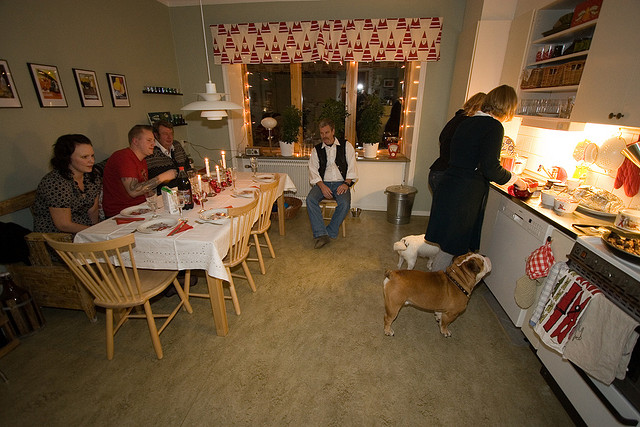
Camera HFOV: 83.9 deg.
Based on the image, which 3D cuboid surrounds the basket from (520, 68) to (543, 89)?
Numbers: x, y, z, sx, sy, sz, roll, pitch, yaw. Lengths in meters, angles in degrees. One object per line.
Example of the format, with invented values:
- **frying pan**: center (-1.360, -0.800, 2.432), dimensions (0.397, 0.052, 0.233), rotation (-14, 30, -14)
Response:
- **basket**: center (2.298, -1.445, 3.844), dimensions (0.051, 0.190, 0.189), rotation (10, -1, -31)

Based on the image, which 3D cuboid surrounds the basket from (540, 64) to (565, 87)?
- **basket**: center (2.365, -1.403, 3.638), dimensions (0.071, 0.210, 0.286), rotation (-5, 21, -10)

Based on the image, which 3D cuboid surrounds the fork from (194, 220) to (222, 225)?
- **fork**: center (-1.036, 0.082, 3.325), dimensions (0.269, 0.033, 0.050), rotation (6, 14, 1)

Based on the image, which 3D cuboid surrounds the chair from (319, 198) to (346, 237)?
- **chair**: center (0.126, -0.013, 5.063), dimensions (0.325, 0.525, 0.660), rotation (-6, 21, -13)

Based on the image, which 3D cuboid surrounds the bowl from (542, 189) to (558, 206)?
- **bowl**: center (2.090, -0.139, 3.279), dimensions (0.116, 0.138, 0.154), rotation (-1, 10, 2)

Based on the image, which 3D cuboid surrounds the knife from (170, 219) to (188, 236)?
- **knife**: center (-1.251, 0.124, 3.206), dimensions (0.041, 0.030, 0.253), rotation (-6, 22, 26)

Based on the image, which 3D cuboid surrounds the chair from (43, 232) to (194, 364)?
- **chair**: center (-1.752, 0.670, 3.308), dimensions (0.727, 1.253, 0.811), rotation (-2, 20, 8)

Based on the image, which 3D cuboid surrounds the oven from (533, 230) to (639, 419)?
- **oven**: center (2.093, 0.917, 2.744), dimensions (0.423, 1.376, 0.794), rotation (-1, 21, 1)

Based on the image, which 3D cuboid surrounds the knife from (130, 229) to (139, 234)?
- **knife**: center (-1.635, 0.160, 3.137), dimensions (0.021, 0.022, 0.037), rotation (-5, 26, 11)

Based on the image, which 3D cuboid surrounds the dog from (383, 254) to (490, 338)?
- **dog**: center (1.101, 0.787, 3.408), dimensions (0.974, 0.849, 0.390), rotation (-1, 20, 1)

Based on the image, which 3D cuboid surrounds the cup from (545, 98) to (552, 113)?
- **cup**: center (2.399, -1.127, 3.750), dimensions (0.042, 0.126, 0.096), rotation (2, 21, 8)

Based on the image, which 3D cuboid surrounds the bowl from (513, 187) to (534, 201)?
- **bowl**: center (1.942, -0.190, 3.418), dimensions (0.107, 0.047, 0.141), rotation (-10, 17, -31)

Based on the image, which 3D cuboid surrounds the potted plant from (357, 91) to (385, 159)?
- **potted plant**: center (0.769, -1.367, 5.536), dimensions (0.385, 0.961, 0.495), rotation (1, 21, 5)

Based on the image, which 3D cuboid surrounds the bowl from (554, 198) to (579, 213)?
- **bowl**: center (2.169, -0.070, 3.148), dimensions (0.132, 0.091, 0.151), rotation (0, 2, 7)

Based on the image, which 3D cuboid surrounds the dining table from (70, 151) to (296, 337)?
- **dining table**: center (-1.234, 0.014, 3.525), dimensions (1.691, 1.137, 2.263), rotation (2, 29, 5)

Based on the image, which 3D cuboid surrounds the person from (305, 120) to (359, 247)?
- **person**: center (0.159, -0.440, 4.770), dimensions (0.723, 1.553, 0.791), rotation (-4, 21, -6)

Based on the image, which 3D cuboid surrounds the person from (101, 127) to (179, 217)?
- **person**: center (-2.016, -0.212, 4.018), dimensions (0.743, 1.477, 0.567), rotation (4, 19, -10)

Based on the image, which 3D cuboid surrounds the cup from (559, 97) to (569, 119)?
- **cup**: center (2.424, -1.049, 3.546), dimensions (0.070, 0.174, 0.292), rotation (9, 22, 26)

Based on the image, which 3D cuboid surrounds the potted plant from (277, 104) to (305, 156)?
- **potted plant**: center (-0.471, -1.328, 5.735), dimensions (0.381, 0.800, 0.435), rotation (-3, 21, -5)

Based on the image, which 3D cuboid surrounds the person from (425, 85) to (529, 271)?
- **person**: center (1.451, -0.290, 3.506), dimensions (0.715, 1.813, 0.404), rotation (3, 21, 10)

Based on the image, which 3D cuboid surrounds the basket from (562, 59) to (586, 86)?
- **basket**: center (2.506, -1.354, 3.437), dimensions (0.140, 0.233, 0.225), rotation (-2, 25, -19)

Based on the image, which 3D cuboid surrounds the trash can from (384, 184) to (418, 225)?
- **trash can**: center (1.198, -0.157, 5.349), dimensions (0.451, 0.587, 0.471), rotation (11, 22, 28)
